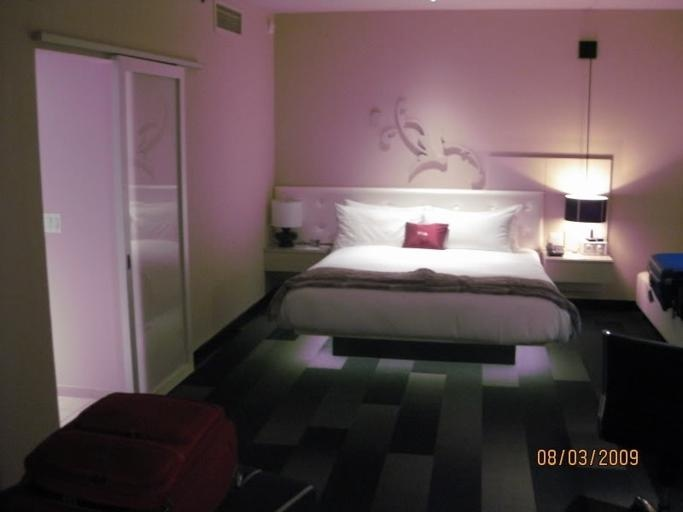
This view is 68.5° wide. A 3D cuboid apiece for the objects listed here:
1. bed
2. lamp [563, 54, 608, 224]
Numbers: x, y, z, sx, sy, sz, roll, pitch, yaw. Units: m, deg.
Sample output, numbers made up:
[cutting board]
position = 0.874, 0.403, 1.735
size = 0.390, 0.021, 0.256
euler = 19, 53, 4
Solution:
[bed]
position = 0.691, 0.057, 5.103
size = 3.001, 1.284, 2.421
euler = 2, 12, 9
[lamp]
position = 2.767, -1.269, 5.560
size = 0.452, 1.868, 0.567
euler = 6, 13, 28
